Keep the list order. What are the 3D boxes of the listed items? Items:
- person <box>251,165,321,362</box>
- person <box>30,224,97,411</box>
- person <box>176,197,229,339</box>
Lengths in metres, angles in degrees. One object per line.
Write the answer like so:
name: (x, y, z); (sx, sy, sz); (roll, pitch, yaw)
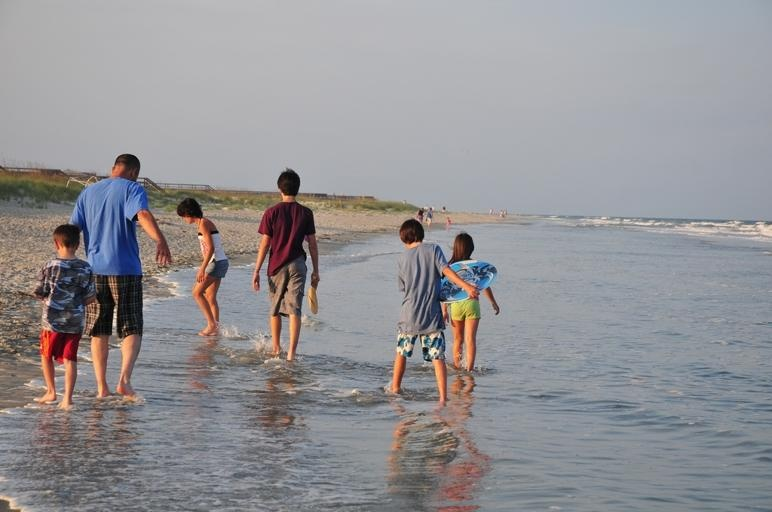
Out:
person: (-1.421, 0.121, 15.210); (0.899, 2.715, 0.541); (3, 9, -4)
person: (-3.891, 0.709, 12.876); (0.562, 2.164, 0.539); (7, 10, 24)
person: (-2.878, 0.125, 16.730); (0.733, 2.089, 1.510); (2, 8, -9)
